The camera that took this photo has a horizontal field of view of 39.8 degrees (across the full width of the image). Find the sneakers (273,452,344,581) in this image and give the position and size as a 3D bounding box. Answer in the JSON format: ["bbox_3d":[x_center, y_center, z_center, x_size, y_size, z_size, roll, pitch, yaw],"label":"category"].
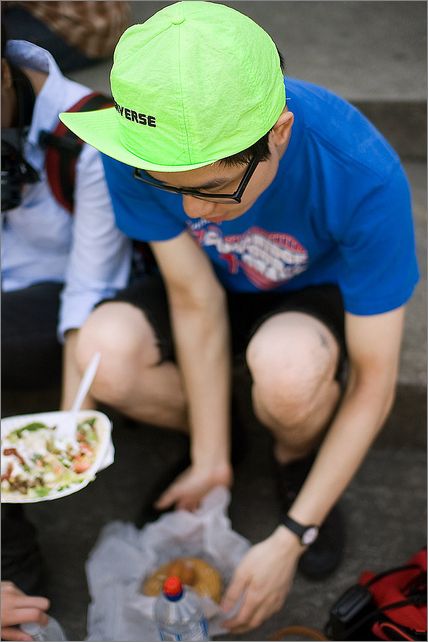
[{"bbox_3d":[0.274,0.560,1.636,0.126,0.055,0.385,-10,50,-1],"label":"sneakers"}]

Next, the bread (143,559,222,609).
[{"bbox_3d":[-0.055,0.577,1.304,0.139,0.038,0.129,-24,34,-12],"label":"bread"}]

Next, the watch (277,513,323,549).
[{"bbox_3d":[0.185,0.443,1.319,0.089,0.095,0.057,30,80,9],"label":"watch"}]
